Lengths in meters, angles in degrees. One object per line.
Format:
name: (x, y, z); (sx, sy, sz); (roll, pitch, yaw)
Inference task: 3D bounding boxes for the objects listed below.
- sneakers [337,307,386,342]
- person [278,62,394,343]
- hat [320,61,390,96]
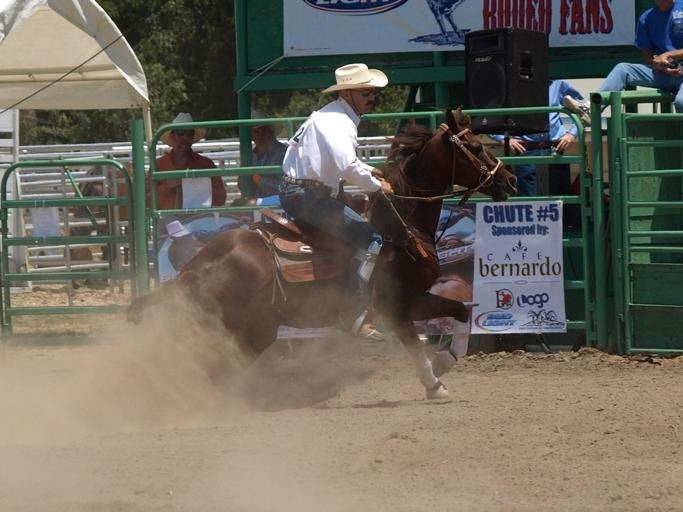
sneakers: (0.236, 0.721, 10.565); (0.529, 0.217, 0.164); (-3, 17, 39)
person: (0.000, -0.500, 10.486); (0.968, 2.627, 0.793); (4, 15, 22)
hat: (0.165, -1.697, 10.413); (0.413, 0.147, 0.374); (-7, 11, 15)
